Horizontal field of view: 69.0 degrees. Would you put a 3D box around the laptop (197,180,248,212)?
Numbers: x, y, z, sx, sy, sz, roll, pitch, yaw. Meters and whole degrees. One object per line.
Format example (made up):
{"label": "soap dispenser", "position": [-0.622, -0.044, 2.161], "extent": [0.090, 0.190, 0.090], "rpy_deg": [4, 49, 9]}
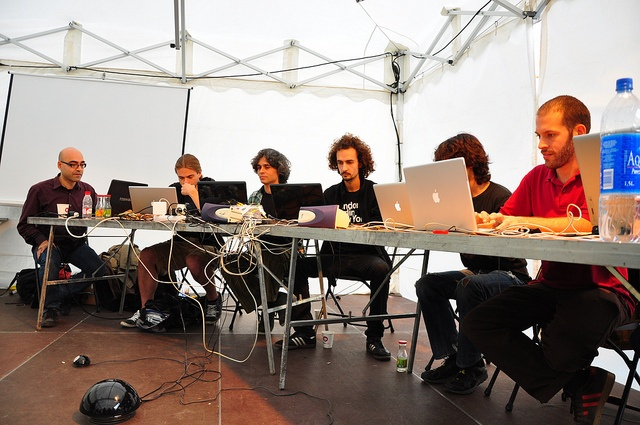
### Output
{"label": "laptop", "position": [-0.842, -0.195, 4.289], "extent": [0.489, 0.300, 0.372], "rpy_deg": [0, 14, 23]}

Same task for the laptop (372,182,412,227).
{"label": "laptop", "position": [0.535, -0.062, 3.451], "extent": [0.284, 0.274, 0.382], "rpy_deg": [-12, 6, -33]}

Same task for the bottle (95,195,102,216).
{"label": "bottle", "position": [-2.028, -0.057, 4.273], "extent": [0.055, 0.191, 0.111], "rpy_deg": [-1, 8, -22]}

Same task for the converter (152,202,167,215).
{"label": "converter", "position": [-1.373, -0.033, 3.996], "extent": [0.108, 0.101, 0.109], "rpy_deg": [0, -3, 24]}

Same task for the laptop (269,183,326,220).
{"label": "laptop", "position": [-0.202, -0.124, 3.893], "extent": [0.426, 0.295, 0.307], "rpy_deg": [1, 7, 9]}

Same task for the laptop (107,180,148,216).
{"label": "laptop", "position": [-1.902, -0.190, 4.637], "extent": [0.326, 0.392, 0.432], "rpy_deg": [6, 6, 42]}

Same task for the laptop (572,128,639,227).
{"label": "laptop", "position": [1.680, -0.181, 2.548], "extent": [0.494, 0.452, 0.380], "rpy_deg": [-4, 1, -32]}

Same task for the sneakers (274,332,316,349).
{"label": "sneakers", "position": [-0.224, 1.096, 3.979], "extent": [0.352, 0.144, 0.128], "rpy_deg": [4, -10, -16]}

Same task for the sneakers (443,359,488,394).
{"label": "sneakers", "position": [1.044, 1.149, 3.299], "extent": [0.383, 0.175, 0.148], "rpy_deg": [-13, 10, -33]}

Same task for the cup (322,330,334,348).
{"label": "cup", "position": [0.067, 1.089, 3.994], "extent": [0.117, 0.104, 0.120], "rpy_deg": [0, -5, 0]}

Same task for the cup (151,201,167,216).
{"label": "cup", "position": [-1.361, -0.038, 3.978], "extent": [0.132, 0.114, 0.117], "rpy_deg": [3, -12, -3]}
